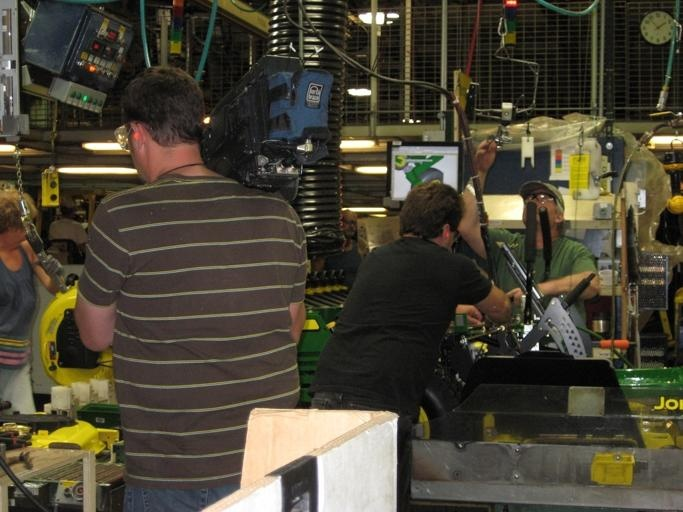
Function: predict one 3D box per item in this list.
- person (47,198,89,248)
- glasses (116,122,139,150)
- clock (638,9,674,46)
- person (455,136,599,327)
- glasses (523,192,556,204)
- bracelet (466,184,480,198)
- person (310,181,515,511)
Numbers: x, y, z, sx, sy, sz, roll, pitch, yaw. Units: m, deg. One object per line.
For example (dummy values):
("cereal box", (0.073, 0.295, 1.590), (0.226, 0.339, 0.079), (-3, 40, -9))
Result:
("person", (-3.687, -0.426, 12.070), (0.685, 0.778, 0.462), (4, 10, 1))
("glasses", (-0.800, -0.469, 3.442), (0.109, 0.085, 0.102), (4, -11, -32))
("clock", (3.514, -2.572, 10.133), (0.361, 0.352, 0.329), (0, 1, 25))
("person", (1.025, 0.059, 5.252), (0.795, 1.212, 0.679), (4, -8, 1))
("glasses", (1.111, -0.335, 5.251), (0.134, 0.069, 0.221), (-1, 1, -33))
("bracelet", (0.732, -0.364, 5.092), (0.115, 0.051, 0.192), (6, 1, 8))
("person", (0.306, 0.379, 4.086), (0.884, 1.455, 0.481), (0, 1, -3))
